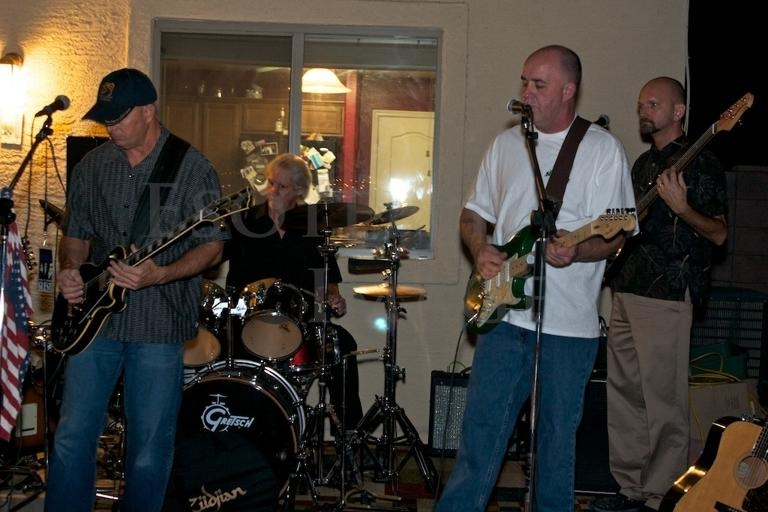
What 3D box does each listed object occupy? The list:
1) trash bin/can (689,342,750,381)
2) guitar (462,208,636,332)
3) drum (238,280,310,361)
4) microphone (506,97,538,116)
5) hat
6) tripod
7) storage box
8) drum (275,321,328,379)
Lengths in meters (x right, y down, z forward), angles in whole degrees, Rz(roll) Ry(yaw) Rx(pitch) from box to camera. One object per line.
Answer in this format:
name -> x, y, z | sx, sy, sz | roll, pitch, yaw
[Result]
trash bin/can -> 2.471, 0.783, 6.609 | 0.401, 0.166, 0.272 | -8, 12, -19
guitar -> 0.902, 0.083, 5.053 | 0.944, 0.744, 0.447 | 3, 4, 14
drum -> -0.770, 0.453, 6.172 | 0.376, 0.376, 0.219 | 19, 30, -12
microphone -> 0.775, -0.836, 5.048 | 0.134, 0.102, 0.251 | 3, 4, 9
hat -> -1.528, -0.895, 5.233 | 0.270, 0.234, 0.422 | 22, 37, 28
tripod -> 0.029, 0.818, 6.519 | 0.779, 1.740, 1.209 | 2, 4, 3
storage box -> 2.365, 1.079, 6.241 | 0.528, 0.562, 0.168 | -7, 0, -4
drum -> -0.561, 0.626, 6.333 | 0.359, 0.376, 0.352 | 0, 5, -31
